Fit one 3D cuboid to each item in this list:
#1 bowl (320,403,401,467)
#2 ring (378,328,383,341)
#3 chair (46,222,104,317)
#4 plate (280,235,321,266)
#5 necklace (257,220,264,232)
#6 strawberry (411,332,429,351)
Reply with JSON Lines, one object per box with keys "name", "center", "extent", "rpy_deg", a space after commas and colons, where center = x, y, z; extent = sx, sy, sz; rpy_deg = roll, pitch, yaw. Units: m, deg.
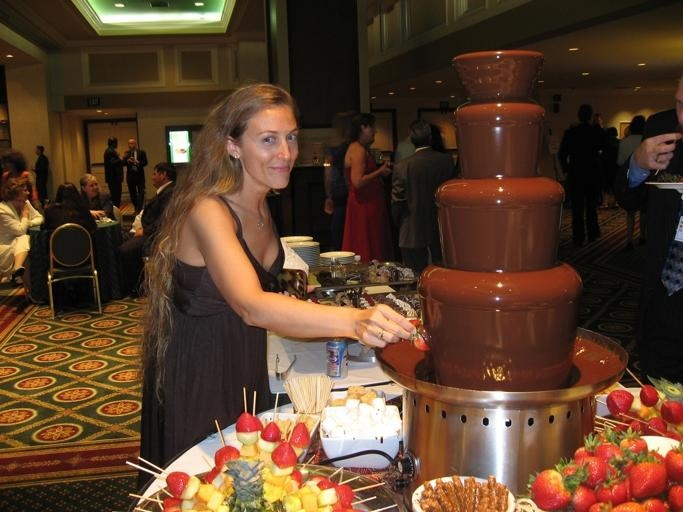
{"name": "bowl", "center": [0.050, 0.434, 1.241], "extent": [0.200, 0.084, 0.168], "rpy_deg": [-3, 2, -14]}
{"name": "ring", "center": [0.084, 0.171, 1.170], "extent": [0.014, 0.017, 0.006], "rpy_deg": [0, -5, 7]}
{"name": "chair", "center": [-2.911, 0.143, 5.803], "extent": [0.494, 0.997, 0.340], "rpy_deg": [-9, 12, -28]}
{"name": "plate", "center": [-0.247, -0.042, 3.499], "extent": [0.216, 0.151, 0.214], "rpy_deg": [-1, 4, -3]}
{"name": "necklace", "center": [-0.258, -0.099, 1.722], "extent": [0.006, 0.022, 0.023], "rpy_deg": [-19, 34, 39]}
{"name": "strawberry", "center": [0.164, 0.178, 1.110], "extent": [0.036, 0.031, 0.027], "rpy_deg": [22, 25, -55]}
